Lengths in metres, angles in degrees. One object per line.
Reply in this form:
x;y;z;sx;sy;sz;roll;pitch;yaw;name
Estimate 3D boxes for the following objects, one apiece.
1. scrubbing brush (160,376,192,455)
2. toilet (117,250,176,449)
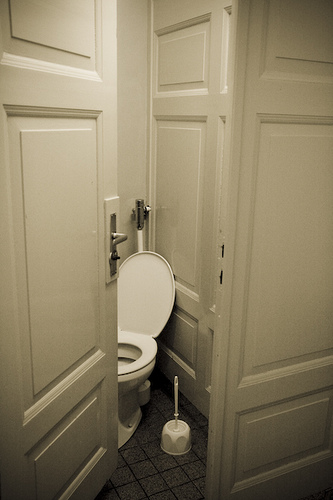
0.046;0.720;1.717;0.115;0.362;0.127;8;18;25;scrubbing brush
-0.134;0.439;2.001;0.308;0.796;0.708;2;10;10;toilet
